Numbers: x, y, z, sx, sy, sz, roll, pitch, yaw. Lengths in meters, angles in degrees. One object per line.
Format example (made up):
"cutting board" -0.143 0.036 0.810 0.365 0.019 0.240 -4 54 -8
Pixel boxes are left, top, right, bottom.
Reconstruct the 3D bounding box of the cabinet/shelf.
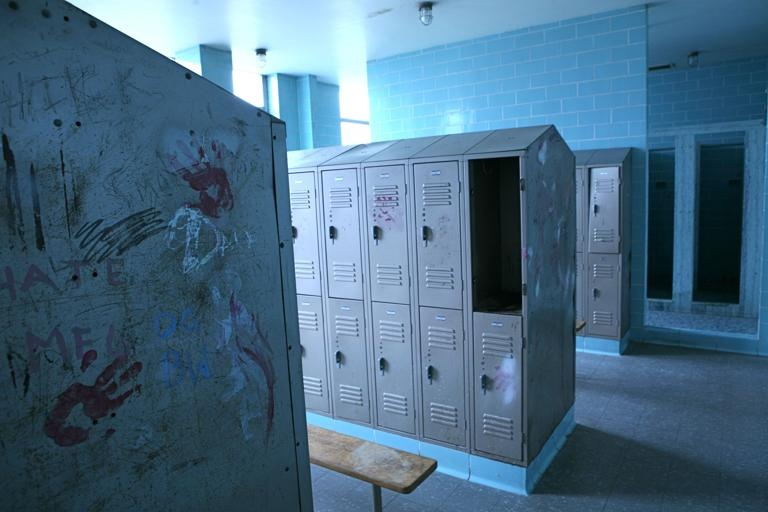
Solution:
"cabinet/shelf" 0.536 0.446 4.428 2.559 2.557 0.922 14 7 19

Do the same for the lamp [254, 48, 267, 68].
"lamp" -1.412 -2.321 6.950 0.174 0.225 0.175 1 5 10

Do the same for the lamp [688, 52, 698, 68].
"lamp" 3.906 -2.496 7.499 0.133 0.213 0.142 0 11 2
